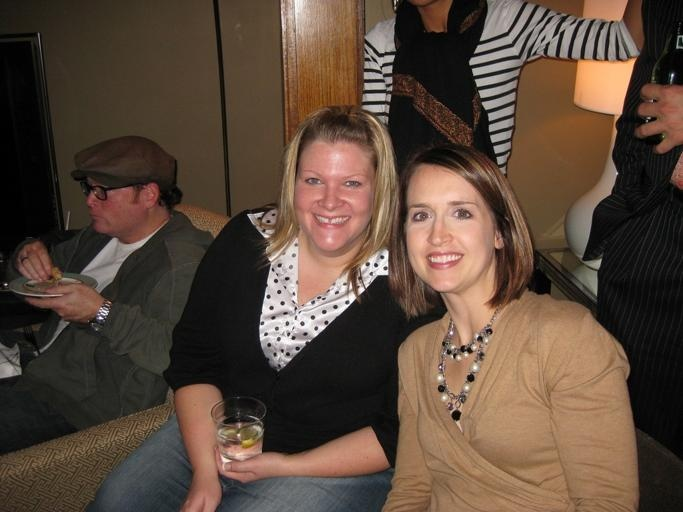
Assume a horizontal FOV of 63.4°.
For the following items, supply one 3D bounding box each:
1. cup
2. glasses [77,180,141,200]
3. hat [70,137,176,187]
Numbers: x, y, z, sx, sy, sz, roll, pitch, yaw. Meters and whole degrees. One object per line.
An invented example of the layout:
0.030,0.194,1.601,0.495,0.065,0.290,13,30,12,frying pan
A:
-0.330,0.565,1.826,0.195,0.237,0.208,1,5,0,cup
-1.102,-0.297,2.485,0.128,0.044,0.137,17,22,36,glasses
-1.023,-0.456,2.630,0.487,0.211,0.365,-3,24,-28,hat
